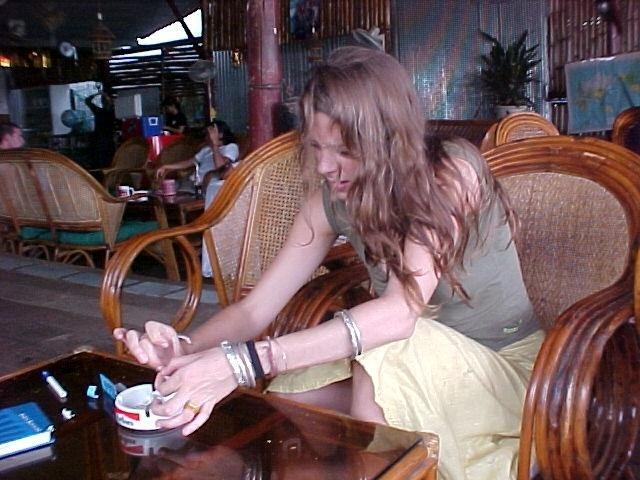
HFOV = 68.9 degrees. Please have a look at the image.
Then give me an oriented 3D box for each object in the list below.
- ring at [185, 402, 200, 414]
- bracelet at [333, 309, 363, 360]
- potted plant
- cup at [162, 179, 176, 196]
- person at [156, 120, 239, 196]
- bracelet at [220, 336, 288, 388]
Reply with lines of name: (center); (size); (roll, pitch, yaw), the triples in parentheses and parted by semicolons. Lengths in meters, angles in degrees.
ring: (-0.245, 0.316, 0.893); (0.021, 0.016, 0.022); (24, 3, -1)
bracelet: (0.064, 0.206, 1.020); (0.030, 0.090, 0.063); (-15, -1, -10)
potted plant: (2.873, -2.387, 6.999); (0.806, 1.091, 0.760); (-11, 11, -38)
cup: (-1.580, -0.555, 4.886); (0.165, 0.206, 0.173); (2, 16, 0)
person: (-1.453, -0.885, 5.589); (0.721, 1.251, 0.802); (7, 1, 6)
bracelet: (-0.142, 0.273, 0.980); (0.049, 0.113, 0.080); (-29, 20, -26)
